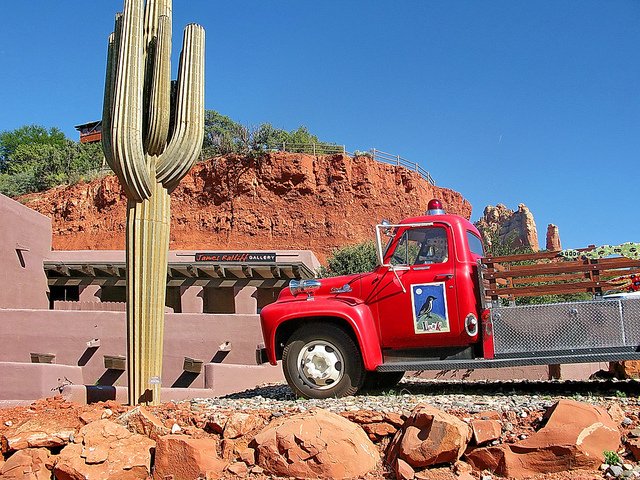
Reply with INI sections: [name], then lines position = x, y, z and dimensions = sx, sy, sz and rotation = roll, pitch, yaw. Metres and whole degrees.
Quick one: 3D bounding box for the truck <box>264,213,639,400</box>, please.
[truck]
position = 2.098, 1.231, 8.004
dimensions = 4.537, 2.325, 3.117
rotation = -1, -11, 14
